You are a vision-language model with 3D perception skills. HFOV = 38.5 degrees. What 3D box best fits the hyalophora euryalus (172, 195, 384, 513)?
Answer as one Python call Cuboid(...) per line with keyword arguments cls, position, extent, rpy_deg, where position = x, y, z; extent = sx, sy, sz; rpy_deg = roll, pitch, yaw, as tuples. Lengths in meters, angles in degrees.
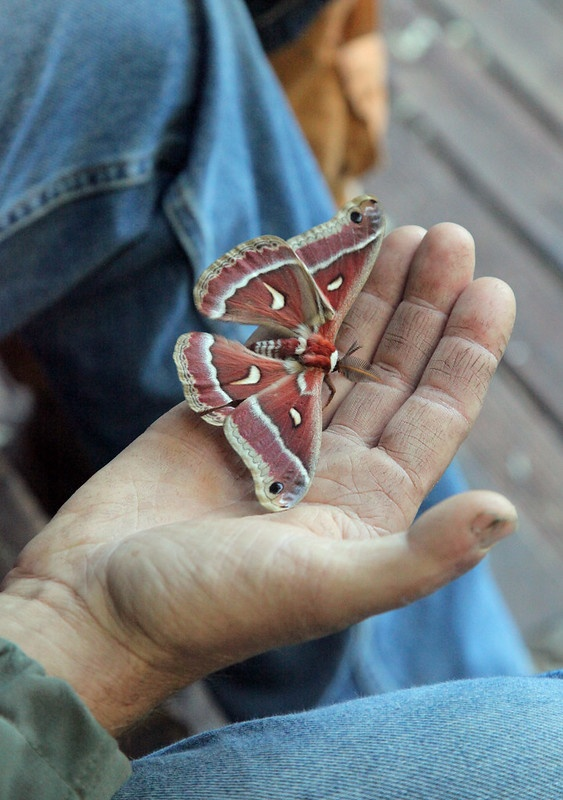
Cuboid(cls="hyalophora euryalus", position=(-0.003, -0.088, 1.810), extent=(0.434, 0.341, 0.766), rpy_deg=(12, 61, 6))
